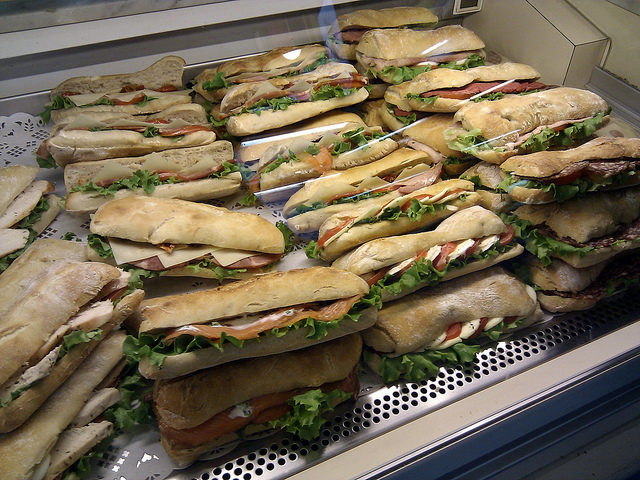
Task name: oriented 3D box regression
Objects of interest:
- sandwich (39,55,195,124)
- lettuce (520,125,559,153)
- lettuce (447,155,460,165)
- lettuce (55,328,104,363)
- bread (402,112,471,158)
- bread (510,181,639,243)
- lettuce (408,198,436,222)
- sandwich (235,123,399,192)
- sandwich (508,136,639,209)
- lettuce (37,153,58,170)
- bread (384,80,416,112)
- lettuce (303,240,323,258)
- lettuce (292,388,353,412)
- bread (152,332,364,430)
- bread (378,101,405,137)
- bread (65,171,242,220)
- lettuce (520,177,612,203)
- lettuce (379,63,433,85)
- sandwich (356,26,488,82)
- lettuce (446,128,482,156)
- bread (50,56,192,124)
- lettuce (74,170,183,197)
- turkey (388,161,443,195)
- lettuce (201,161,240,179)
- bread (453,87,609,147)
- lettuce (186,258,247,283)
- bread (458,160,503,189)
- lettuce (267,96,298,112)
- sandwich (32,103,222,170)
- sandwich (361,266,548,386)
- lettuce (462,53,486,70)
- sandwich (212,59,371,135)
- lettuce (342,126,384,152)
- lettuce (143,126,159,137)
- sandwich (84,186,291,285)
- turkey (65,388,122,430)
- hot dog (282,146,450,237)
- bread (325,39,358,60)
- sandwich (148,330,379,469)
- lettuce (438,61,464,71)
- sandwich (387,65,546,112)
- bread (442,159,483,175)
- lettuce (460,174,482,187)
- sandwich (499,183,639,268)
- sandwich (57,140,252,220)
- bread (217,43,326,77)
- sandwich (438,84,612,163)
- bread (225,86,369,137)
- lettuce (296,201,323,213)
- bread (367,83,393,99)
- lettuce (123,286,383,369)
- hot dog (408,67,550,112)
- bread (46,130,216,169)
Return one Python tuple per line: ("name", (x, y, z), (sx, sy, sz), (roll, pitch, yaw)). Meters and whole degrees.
("sandwich", (-1.044, -0.924, 3.204), (1.203, 0.334, 0.280), (-13, 59, -19))
("lettuce", (1.252, -0.590, 3.027), (0.186, 0.074, 0.176), (-35, 21, -23))
("lettuce", (0.829, -0.496, 3.218), (0.079, 0.022, 0.066), (12, -3, 13))
("lettuce", (-1.128, 0.496, 2.419), (0.194, 0.055, 0.162), (-20, 2, -3))
("bread", (0.716, -0.698, 3.327), (0.466, 0.095, 0.350), (-17, 40, -1))
("bread", (1.499, -0.149, 2.945), (0.700, 0.132, 0.388), (-11, 24, -19))
("lettuce", (0.555, -0.166, 2.976), (0.164, 0.065, 0.158), (26, 4, 30))
("sandwich", (-0.027, -0.534, 3.190), (1.055, 0.221, 0.373), (-10, 33, -11))
("sandwich", (1.412, -0.388, 2.997), (1.018, 0.246, 0.363), (-10, 51, -5))
("lettuce", (-1.717, -0.495, 3.224), (0.117, 0.038, 0.098), (18, -6, -12))
("bread", (0.514, -0.966, 3.448), (0.087, 0.181, 0.216), (2, 16, -44))
("lettuce", (-0.054, 0.055, 2.911), (0.108, 0.046, 0.086), (26, 86, 41))
("lettuce", (0.015, 0.748, 2.494), (0.197, 0.058, 0.175), (-6, -5, 27))
("bread", (-0.307, 0.664, 2.516), (1.042, 0.189, 0.356), (-13, 11, -8))
("bread", (0.486, -0.809, 3.458), (0.266, 0.263, 0.089), (38, 89, 8))
("bread", (-0.930, -0.307, 3.217), (1.184, 0.187, 0.331), (-7, 27, -17))
("lettuce", (1.392, -0.286, 2.866), (0.346, 0.057, 0.213), (-4, 4, -15))
("lettuce", (0.593, -1.139, 3.480), (0.224, 0.050, 0.215), (12, 28, 40))
("sandwich", (0.679, -1.282, 3.495), (0.822, 0.176, 0.435), (-7, 28, -13))
("lettuce", (0.861, -0.582, 3.074), (0.213, 0.069, 0.165), (8, 52, 32))
("bread", (-1.224, -0.936, 3.173), (0.650, 0.146, 0.506), (-5, 14, -1))
("lettuce", (-1.165, -0.339, 3.148), (0.614, 0.133, 0.169), (-13, 38, -12))
("turkey", (0.600, -0.375, 3.113), (0.280, 0.068, 0.178), (-21, 45, -27))
("lettuce", (-0.611, -0.435, 3.257), (0.175, 0.047, 0.149), (-17, 3, -19))
("bread", (1.313, -0.741, 3.305), (1.168, 0.221, 0.470), (-14, 13, -24))
("lettuce", (-0.594, 0.161, 2.877), (0.207, 0.046, 0.188), (10, 10, 36))
("bread", (0.989, -0.397, 3.107), (0.205, 0.062, 0.205), (-45, 43, -14))
("lettuce", (-0.240, -0.912, 3.381), (0.156, 0.045, 0.117), (15, 41, 11))
("sandwich", (-1.208, -0.678, 3.258), (1.108, 0.244, 0.382), (-7, 52, -16))
("sandwich", (0.684, 0.392, 2.885), (1.179, 0.272, 0.545), (-19, 45, -22))
("lettuce", (1.044, -1.208, 3.486), (0.170, 0.056, 0.129), (0, 31, 16))
("sandwich", (-0.192, -0.941, 3.427), (1.071, 0.221, 0.413), (-13, 32, -11))
("lettuce", (0.277, -0.655, 3.285), (0.246, 0.063, 0.177), (-28, 47, -35))
("lettuce", (-1.082, -0.684, 3.258), (0.080, 0.064, 0.031), (25, 38, -8))
("sandwich", (-0.740, -0.012, 2.917), (1.044, 0.232, 0.545), (4, 26, -15))
("turkey", (-1.058, 0.800, 2.470), (0.222, 0.054, 0.190), (-21, 14, 18))
("hot dog", (0.259, -0.336, 3.115), (1.218, 0.279, 0.419), (-13, 39, -11))
("bread", (0.141, -1.233, 3.326), (0.174, 0.047, 0.146), (30, 34, 35))
("sandwich", (-0.223, 0.785, 2.477), (1.028, 0.246, 0.497), (-10, 31, -1))
("lettuce", (0.898, -1.183, 3.485), (0.143, 0.031, 0.105), (-3, 30, 9))
("sandwich", (0.941, -0.992, 3.355), (0.830, 0.141, 0.382), (-6, 12, -11))
("bread", (0.884, -0.455, 3.232), (0.190, 0.046, 0.119), (-14, 6, -26))
("lettuce", (0.921, -0.363, 3.106), (0.095, 0.024, 0.086), (19, 19, 30))
("sandwich", (1.523, -0.061, 2.965), (0.827, 0.177, 0.481), (-13, 46, -10))
("sandwich", (-1.034, -0.381, 3.194), (1.226, 0.298, 0.444), (-9, 39, -20))
("bread", (-0.311, -1.099, 3.137), (0.491, 0.065, 0.277), (-10, 2, -4))
("sandwich", (1.290, -0.740, 3.228), (1.065, 0.227, 0.549), (-16, 30, -20))
("bread", (-0.024, -0.842, 3.455), (1.136, 0.161, 0.254), (-8, 41, -7))
("lettuce", (-0.074, -0.193, 3.005), (0.104, 0.090, 0.029), (-15, 65, 28))
("bread", (0.424, -1.050, 3.649), (0.148, 0.039, 0.120), (-14, 8, 6))
("lettuce", (-0.239, 0.459, 2.544), (1.292, 0.187, 0.402), (-7, 17, -18))
("hot dog", (1.010, -1.001, 3.341), (0.782, 0.158, 0.364), (-7, 25, -9))
("bread", (-1.270, -0.571, 3.268), (0.717, 0.125, 0.328), (-3, 18, -24))
